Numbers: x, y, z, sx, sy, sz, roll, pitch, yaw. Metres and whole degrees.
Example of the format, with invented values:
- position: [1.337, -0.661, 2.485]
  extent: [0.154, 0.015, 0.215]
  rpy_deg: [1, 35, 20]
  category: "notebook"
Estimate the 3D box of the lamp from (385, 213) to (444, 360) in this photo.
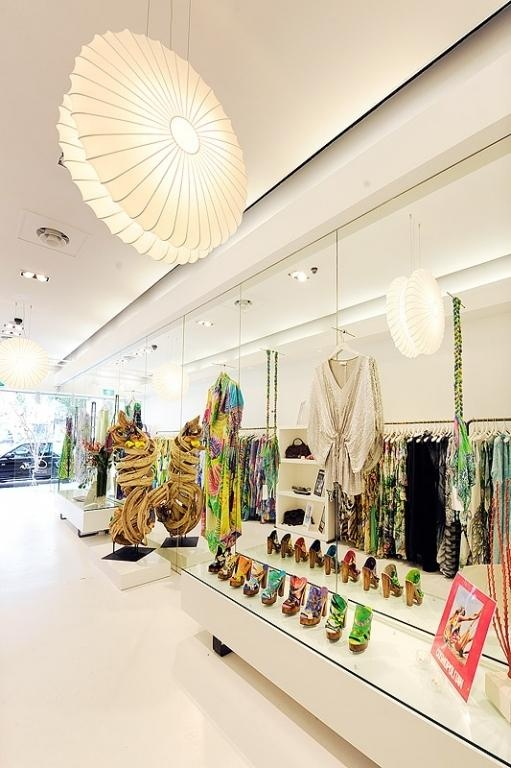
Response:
- position: [0.787, -0.347, 2.207]
  extent: [0.300, 0.470, 0.242]
  rpy_deg: [-4, -6, 41]
  category: "lamp"

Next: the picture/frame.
- position: [0.712, 0.865, 1.550]
  extent: [0.005, 0.428, 0.276]
  rpy_deg: [12, 6, -10]
  category: "picture/frame"

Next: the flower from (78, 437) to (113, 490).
- position: [-1.797, 0.921, 5.334]
  extent: [0.297, 0.697, 0.356]
  rpy_deg: [-23, -27, 33]
  category: "flower"

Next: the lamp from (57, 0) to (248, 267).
- position: [-0.273, -0.611, 1.311]
  extent: [0.529, 0.480, 0.355]
  rpy_deg: [3, -6, -35]
  category: "lamp"

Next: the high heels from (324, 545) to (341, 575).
- position: [0.400, 0.876, 2.329]
  extent: [0.050, 0.107, 0.170]
  rpy_deg: [-1, -10, 12]
  category: "high heels"

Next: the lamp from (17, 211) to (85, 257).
- position: [-1.575, -1.184, 3.551]
  extent: [0.246, 0.067, 0.250]
  rpy_deg: [17, -26, -36]
  category: "lamp"

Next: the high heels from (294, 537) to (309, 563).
- position: [0.264, 0.917, 2.554]
  extent: [0.050, 0.081, 0.164]
  rpy_deg: [-2, -3, 14]
  category: "high heels"

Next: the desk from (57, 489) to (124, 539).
- position: [-2.033, 1.499, 5.588]
  extent: [0.428, 0.350, 1.253]
  rpy_deg: [3, -6, -34]
  category: "desk"

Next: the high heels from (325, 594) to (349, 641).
- position: [0.347, 0.962, 1.933]
  extent: [0.059, 0.150, 0.210]
  rpy_deg: [1, 1, 25]
  category: "high heels"
